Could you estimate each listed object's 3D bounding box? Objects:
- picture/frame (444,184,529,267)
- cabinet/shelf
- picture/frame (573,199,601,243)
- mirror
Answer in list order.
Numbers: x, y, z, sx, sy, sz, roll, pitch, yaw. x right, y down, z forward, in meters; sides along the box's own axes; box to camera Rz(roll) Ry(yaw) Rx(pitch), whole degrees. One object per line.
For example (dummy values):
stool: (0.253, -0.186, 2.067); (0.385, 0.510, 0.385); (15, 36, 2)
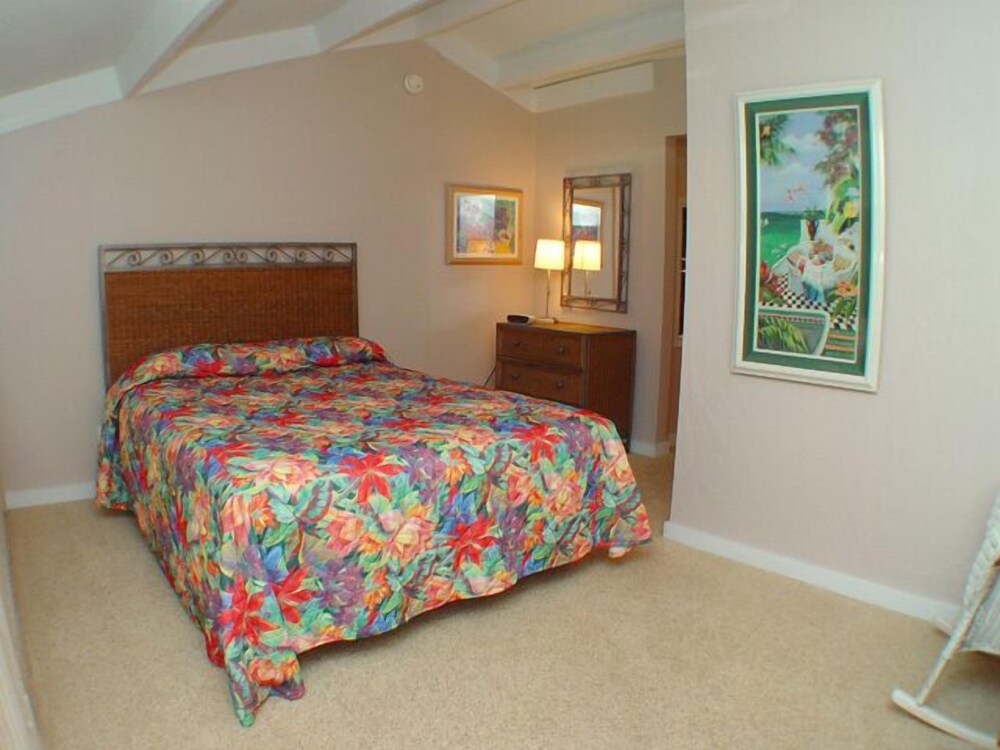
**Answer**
picture/frame: (-0.145, -1.263, 6.261); (0.669, 0.629, 0.055); (-4, 7, -38)
cabinet/shelf: (0.489, -0.025, 6.081); (0.519, 0.905, 0.881); (-8, 21, -40)
picture/frame: (0.735, -1.287, 6.191); (0.034, 0.364, 0.286); (-12, 19, -42)
mirror: (0.789, -1.057, 6.169); (0.584, 1.104, 0.027); (5, 17, 21)
